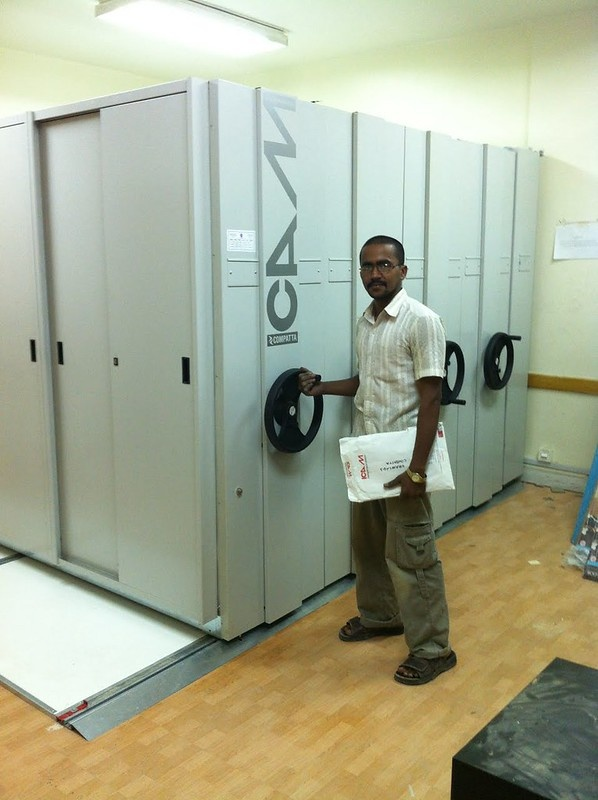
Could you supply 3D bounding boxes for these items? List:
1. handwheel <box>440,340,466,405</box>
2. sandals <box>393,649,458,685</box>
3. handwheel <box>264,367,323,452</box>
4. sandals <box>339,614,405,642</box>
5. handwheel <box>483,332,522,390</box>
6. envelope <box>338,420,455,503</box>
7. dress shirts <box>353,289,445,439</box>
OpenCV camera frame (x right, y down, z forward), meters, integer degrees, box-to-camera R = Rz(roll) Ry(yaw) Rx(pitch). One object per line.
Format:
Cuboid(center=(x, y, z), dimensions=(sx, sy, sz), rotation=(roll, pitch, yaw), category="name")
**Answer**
Cuboid(center=(0.825, -0.143, 3.437), dimensions=(0.114, 0.306, 0.301), rotation=(4, 19, 28), category="handwheel")
Cuboid(center=(0.469, 0.975, 2.377), dimensions=(0.233, 0.105, 0.087), rotation=(-10, 15, -37), category="sandals")
Cuboid(center=(-0.031, 0.034, 2.557), dimensions=(0.065, 0.283, 0.262), rotation=(13, 30, 34), category="handwheel")
Cuboid(center=(0.307, 0.963, 2.695), dimensions=(0.262, 0.108, 0.099), rotation=(-1, 12, -7), category="sandals")
Cuboid(center=(1.326, -0.261, 4.205), dimensions=(0.163, 0.393, 0.391), rotation=(6, 4, 34), category="handwheel")
Cuboid(center=(0.326, 0.222, 2.157), dimensions=(0.356, 0.250, 0.109), rotation=(-6, -3, -5), category="envelope")
Cuboid(center=(0.353, -0.127, 2.285), dimensions=(0.118, 0.510, 0.374), rotation=(-6, 10, -41), category="dress shirts")
